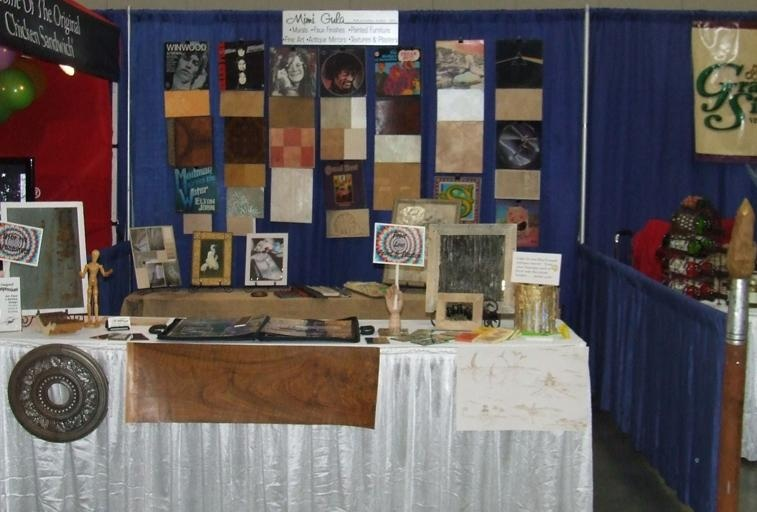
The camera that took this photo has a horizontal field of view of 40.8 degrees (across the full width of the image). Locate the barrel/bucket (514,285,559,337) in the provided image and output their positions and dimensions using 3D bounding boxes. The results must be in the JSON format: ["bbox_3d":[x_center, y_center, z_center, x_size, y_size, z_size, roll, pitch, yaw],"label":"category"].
[{"bbox_3d":[0.987,0.325,6.458,0.253,0.279,0.366,-1,94,-15],"label":"barrel/bucket"}]

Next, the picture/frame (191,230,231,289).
[{"bbox_3d":[-1.345,0.041,8.186,0.335,0.114,0.571,2,87,-6],"label":"picture/frame"}]

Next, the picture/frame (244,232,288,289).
[{"bbox_3d":[-0.899,0.041,8.140,0.341,0.090,0.523,0,87,-4],"label":"picture/frame"}]
